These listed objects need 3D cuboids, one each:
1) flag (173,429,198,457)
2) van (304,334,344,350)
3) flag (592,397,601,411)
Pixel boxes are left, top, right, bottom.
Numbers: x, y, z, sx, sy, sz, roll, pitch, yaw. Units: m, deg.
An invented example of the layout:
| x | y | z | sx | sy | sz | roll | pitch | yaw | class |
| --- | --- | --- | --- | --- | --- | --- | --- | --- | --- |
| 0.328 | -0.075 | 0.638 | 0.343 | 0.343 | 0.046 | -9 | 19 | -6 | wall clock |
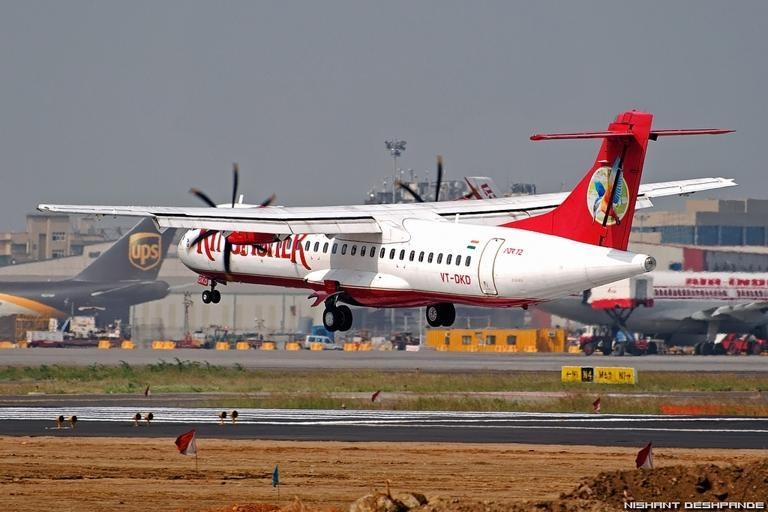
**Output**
| x | y | z | sx | sy | sz | roll | pitch | yaw | class |
| --- | --- | --- | --- | --- | --- | --- | --- | --- | --- |
| -10.006 | 9.365 | 84.042 | 1.533 | 1.706 | 0.310 | 2 | 6 | 17 | flag |
| -6.023 | 8.113 | 159.549 | 2.990 | 1.091 | 1.529 | -1 | 2 | -15 | van |
| 11.982 | 8.259 | 94.334 | 0.772 | 0.721 | 0.107 | 6 | 4 | 34 | flag |
